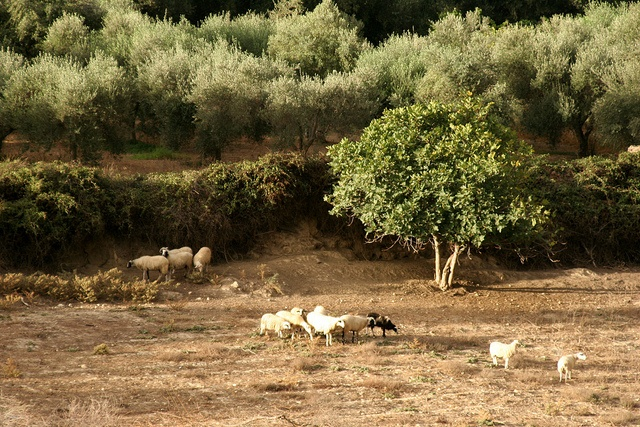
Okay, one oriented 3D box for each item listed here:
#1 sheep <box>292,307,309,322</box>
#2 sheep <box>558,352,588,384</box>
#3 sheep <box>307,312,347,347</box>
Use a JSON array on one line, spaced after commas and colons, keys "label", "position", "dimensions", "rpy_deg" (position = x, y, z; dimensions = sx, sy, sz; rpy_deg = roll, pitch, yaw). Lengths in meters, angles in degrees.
[{"label": "sheep", "position": [-1.028, 5.158, 69.421], "dimensions": [0.784, 0.576, 0.526], "rpy_deg": [26, -20, 28]}, {"label": "sheep", "position": [12.564, 7.715, 66.864], "dimensions": [1.333, 1.264, 0.797], "rpy_deg": [-6, 7, -32]}, {"label": "sheep", "position": [0.287, 5.963, 68.547], "dimensions": [1.908, 1.620, 0.625], "rpy_deg": [1, 7, 25]}]
